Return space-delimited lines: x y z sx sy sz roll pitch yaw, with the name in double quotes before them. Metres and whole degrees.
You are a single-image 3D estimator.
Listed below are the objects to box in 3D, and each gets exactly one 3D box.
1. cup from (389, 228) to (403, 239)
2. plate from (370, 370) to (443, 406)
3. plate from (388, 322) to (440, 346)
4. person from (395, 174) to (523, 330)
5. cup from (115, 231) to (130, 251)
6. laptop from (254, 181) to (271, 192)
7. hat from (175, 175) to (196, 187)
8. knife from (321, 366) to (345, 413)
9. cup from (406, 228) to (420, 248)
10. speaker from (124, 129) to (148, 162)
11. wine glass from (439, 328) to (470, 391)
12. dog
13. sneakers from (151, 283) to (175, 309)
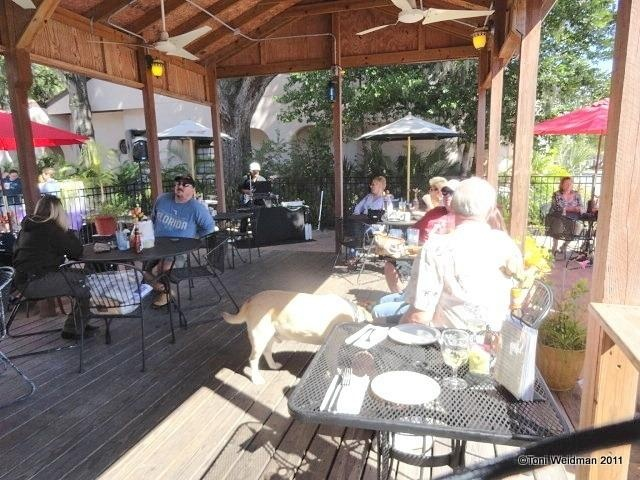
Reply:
"cup" 0.859 -0.074 5.289 0.143 0.168 0.166 4 10 20
"plate" 0.439 0.756 2.384 0.349 0.057 0.231 2 15 9
"plate" 0.573 0.577 2.839 0.305 0.059 0.203 3 15 13
"person" 0.979 0.116 2.964 0.681 0.969 0.604 -11 18 -37
"cup" -2.125 0.001 4.982 0.140 0.201 0.113 11 24 13
"laptop" -1.383 -1.280 11.063 0.427 0.319 0.244 2 38 -3
"hat" -1.785 -0.779 6.118 0.223 0.141 0.262 12 19 41
"knife" 0.068 0.752 2.413 0.045 0.042 0.344 -4 21 16
"cup" 0.972 -0.033 4.797 0.147 0.247 0.151 0 13 0
"speaker" -3.498 -1.798 8.813 0.330 0.603 1.148 -6 15 -21
"wine glass" 0.721 0.625 2.478 0.144 0.217 0.273 4 15 17
"dog" -0.151 0.814 3.927 1.292 0.818 0.419 1 18 2
"sneakers" -1.890 0.660 5.525 0.131 0.289 0.416 12 29 -3
